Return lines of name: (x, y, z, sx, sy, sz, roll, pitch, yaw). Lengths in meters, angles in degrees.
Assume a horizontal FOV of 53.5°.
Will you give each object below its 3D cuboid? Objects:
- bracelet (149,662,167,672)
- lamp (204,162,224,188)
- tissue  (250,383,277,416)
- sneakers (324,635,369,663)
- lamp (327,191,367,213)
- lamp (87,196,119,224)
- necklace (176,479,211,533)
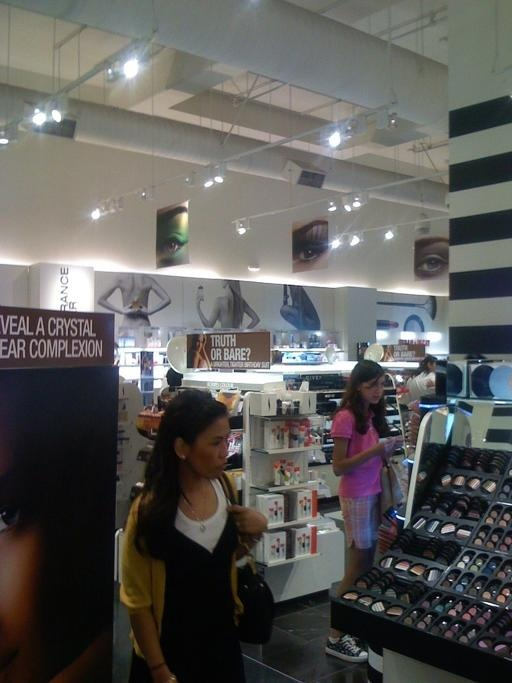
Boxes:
bracelet: (-0.262, 0.880, 1.375, 0.029, 0.008, 0.027, -10, -5, -15)
lamp: (-0.644, -2.642, 8.028, 0.233, 0.277, 0.338, -2, 3, -41)
tissue : (0.040, 0.456, 4.150, 0.234, 0.344, 0.165, 0, 0, -44)
sneakers: (0.585, 1.966, 3.342, 0.281, 0.136, 0.121, -4, -3, 36)
lamp: (1.675, -2.539, 9.344, 0.585, 0.287, 0.807, -6, 6, -1)
lamp: (-3.201, -2.781, 10.652, 0.653, 0.266, 0.402, -43, 27, -29)
necklace: (-0.185, 0.489, 1.503, 0.080, 0.027, 0.117, 8, 39, -22)
